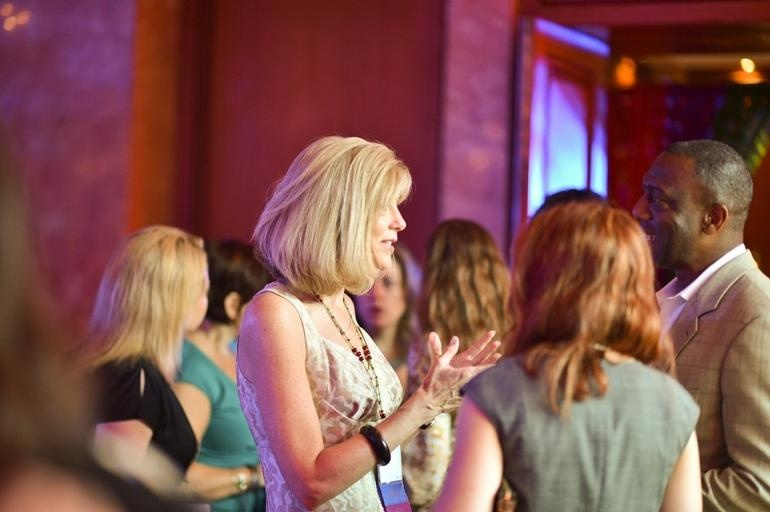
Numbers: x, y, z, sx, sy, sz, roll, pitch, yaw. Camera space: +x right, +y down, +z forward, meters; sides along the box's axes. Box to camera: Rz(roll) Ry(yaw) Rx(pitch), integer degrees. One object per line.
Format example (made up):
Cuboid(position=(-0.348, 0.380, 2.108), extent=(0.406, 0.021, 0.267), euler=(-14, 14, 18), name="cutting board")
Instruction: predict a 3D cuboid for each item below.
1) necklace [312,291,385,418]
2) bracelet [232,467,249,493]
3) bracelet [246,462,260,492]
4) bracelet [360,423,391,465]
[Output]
Cuboid(position=(-0.112, 0.323, 3.117), extent=(0.150, 0.029, 0.566), euler=(5, 39, -26), name="necklace")
Cuboid(position=(-0.621, 0.981, 3.673), extent=(0.019, 0.083, 0.064), euler=(-2, -17, 40), name="bracelet")
Cuboid(position=(-0.565, 0.967, 3.648), extent=(0.077, 0.087, 0.067), euler=(0, -13, -14), name="bracelet")
Cuboid(position=(-0.009, 0.625, 2.803), extent=(0.038, 0.115, 0.111), euler=(-28, 27, -11), name="bracelet")
